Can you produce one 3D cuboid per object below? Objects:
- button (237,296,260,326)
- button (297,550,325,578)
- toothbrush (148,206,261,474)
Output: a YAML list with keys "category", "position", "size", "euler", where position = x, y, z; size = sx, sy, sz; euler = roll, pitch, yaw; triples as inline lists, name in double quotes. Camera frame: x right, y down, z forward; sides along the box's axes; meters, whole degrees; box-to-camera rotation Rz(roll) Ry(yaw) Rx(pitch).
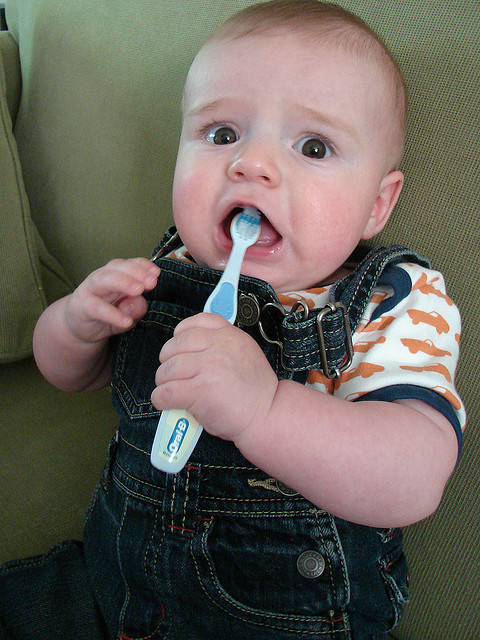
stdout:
- category: "button"
  position: [0.010, -0.011, 0.742]
  size: [0.033, 0.031, 0.009]
  euler: [12, 17, 30]
- category: "button"
  position: [0.078, 0.267, 0.680]
  size: [0.030, 0.022, 0.020]
  euler: [6, 36, 6]
- category: "toothbrush"
  position: [-0.031, 0.010, 0.686]
  size: [0.044, 0.016, 0.326]
  euler: [23, 74, -19]
